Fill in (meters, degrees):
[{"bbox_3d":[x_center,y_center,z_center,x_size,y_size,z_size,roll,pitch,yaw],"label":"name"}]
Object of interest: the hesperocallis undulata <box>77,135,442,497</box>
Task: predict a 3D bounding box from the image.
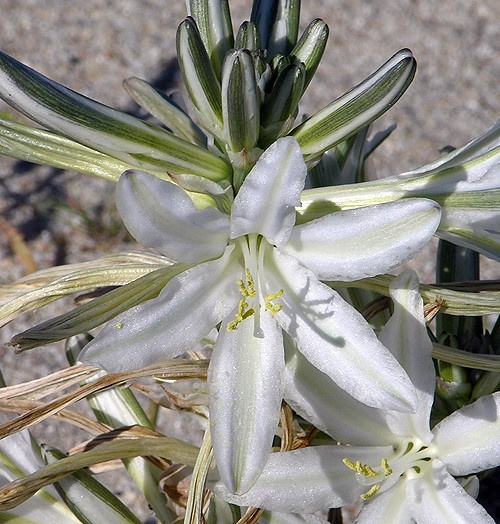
[{"bbox_3d":[0.055,0.084,0.967,0.505,0.205,0.426,-43,78,-11],"label":"hesperocallis undulata"}]
